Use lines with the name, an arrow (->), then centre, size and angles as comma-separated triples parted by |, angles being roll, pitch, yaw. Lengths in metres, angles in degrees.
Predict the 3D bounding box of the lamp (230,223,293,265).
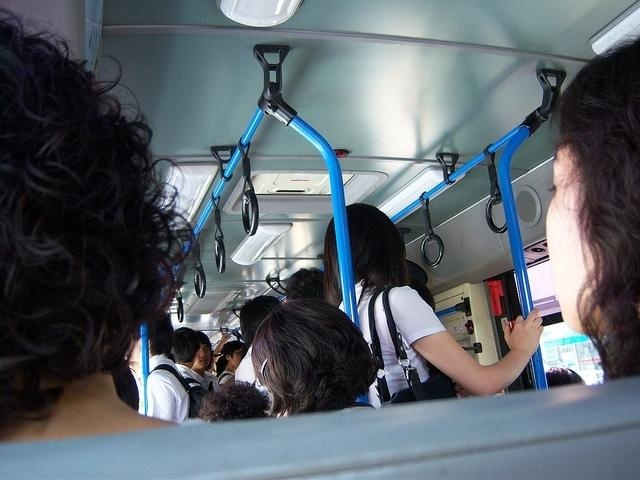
lamp -> -0.679, 0.035, 5.223 | 0.166, 0.190, 0.658 | -30, -3, -29

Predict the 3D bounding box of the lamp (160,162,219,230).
lamp -> -0.728, -0.293, 2.645 | 0.191, 0.045, 0.593 | 4, -29, -18
